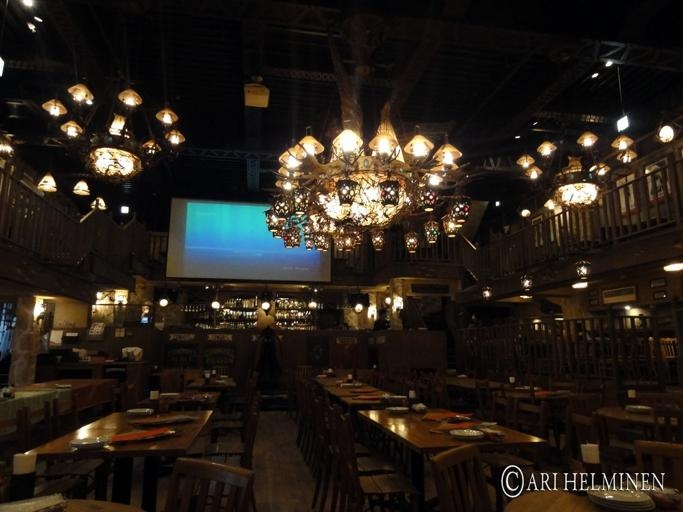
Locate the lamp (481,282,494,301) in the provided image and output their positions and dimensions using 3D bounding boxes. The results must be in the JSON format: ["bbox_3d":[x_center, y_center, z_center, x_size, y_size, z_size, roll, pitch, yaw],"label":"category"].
[{"bbox_3d":[3.785,0.892,14.092,0.396,0.398,0.394,8,-15,-19],"label":"lamp"}]

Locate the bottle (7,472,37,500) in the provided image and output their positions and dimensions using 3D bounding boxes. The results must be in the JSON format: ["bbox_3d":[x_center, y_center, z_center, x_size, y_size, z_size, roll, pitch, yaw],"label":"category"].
[{"bbox_3d":[-2.712,1.949,4.644,0.174,0.207,0.251,9,-17,-31],"label":"bottle"}]

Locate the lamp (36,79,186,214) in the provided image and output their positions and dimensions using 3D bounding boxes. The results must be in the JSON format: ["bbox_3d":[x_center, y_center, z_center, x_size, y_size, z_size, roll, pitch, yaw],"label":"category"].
[{"bbox_3d":[-3.591,-1.900,8.813,2.307,1.421,2.186,0,-13,6],"label":"lamp"}]

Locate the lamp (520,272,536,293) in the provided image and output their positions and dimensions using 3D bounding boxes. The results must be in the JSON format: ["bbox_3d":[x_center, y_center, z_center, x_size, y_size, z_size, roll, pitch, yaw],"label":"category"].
[{"bbox_3d":[4.413,0.623,12.860,0.366,0.594,0.493,-1,-3,2],"label":"lamp"}]

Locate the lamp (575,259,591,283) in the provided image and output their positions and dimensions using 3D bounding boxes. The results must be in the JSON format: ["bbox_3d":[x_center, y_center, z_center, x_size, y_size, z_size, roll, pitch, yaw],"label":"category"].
[{"bbox_3d":[5.020,0.250,11.367,0.305,0.428,0.864,-7,-16,23],"label":"lamp"}]
